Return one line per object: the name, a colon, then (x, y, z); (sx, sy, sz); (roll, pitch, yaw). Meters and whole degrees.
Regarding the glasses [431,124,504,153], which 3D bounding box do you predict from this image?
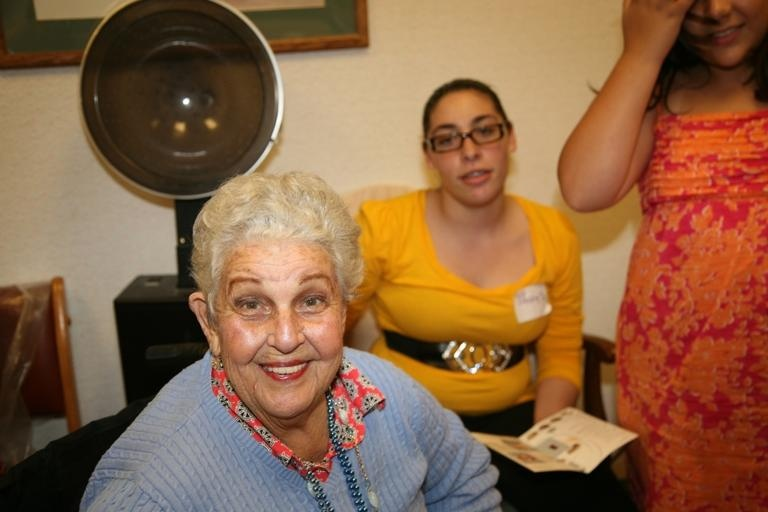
glasses: (0.274, -0.391, 1.967); (0.263, 0.087, 0.076); (-3, 8, 8)
